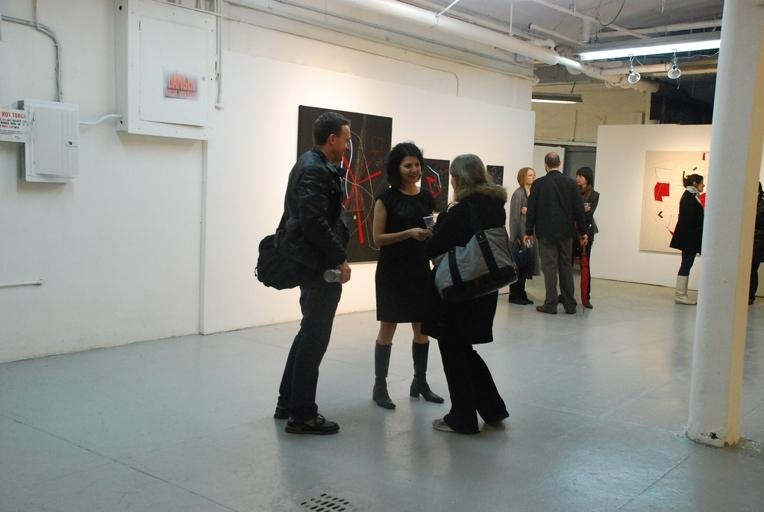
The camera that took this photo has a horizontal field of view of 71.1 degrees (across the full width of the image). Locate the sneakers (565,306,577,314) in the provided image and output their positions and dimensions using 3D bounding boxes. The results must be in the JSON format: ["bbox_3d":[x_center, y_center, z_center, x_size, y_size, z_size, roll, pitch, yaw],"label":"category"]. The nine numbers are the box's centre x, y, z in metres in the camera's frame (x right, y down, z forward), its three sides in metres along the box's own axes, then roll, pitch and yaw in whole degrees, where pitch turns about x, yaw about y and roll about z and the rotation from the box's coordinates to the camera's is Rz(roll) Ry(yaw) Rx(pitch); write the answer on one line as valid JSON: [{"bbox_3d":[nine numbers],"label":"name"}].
[{"bbox_3d":[2.829,0.826,7.980,0.104,0.098,0.138,0,-4,-1],"label":"sneakers"}]

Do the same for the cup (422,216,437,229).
[{"bbox_3d":[0.378,-0.269,4.244,0.099,0.119,0.100,1,7,0],"label":"cup"}]

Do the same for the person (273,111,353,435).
[{"bbox_3d":[-0.521,0.128,3.974,0.544,2.371,0.439,0,8,-12],"label":"person"}]

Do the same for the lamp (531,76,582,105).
[{"bbox_3d":[4.285,-4.061,13.006,1.230,0.548,1.259,3,7,13],"label":"lamp"}]

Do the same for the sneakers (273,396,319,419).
[{"bbox_3d":[-0.713,1.231,4.286,0.432,0.204,0.146,-1,8,-17],"label":"sneakers"}]

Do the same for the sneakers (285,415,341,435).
[{"bbox_3d":[-0.517,1.267,4.026,0.385,0.170,0.153,0,-2,-7],"label":"sneakers"}]

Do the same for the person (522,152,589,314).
[{"bbox_3d":[2.595,-0.211,8.002,0.868,2.118,0.516,4,8,18],"label":"person"}]

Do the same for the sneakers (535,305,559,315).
[{"bbox_3d":[2.471,0.807,7.973,0.121,0.130,0.304,-5,11,-34],"label":"sneakers"}]

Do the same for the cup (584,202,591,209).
[{"bbox_3d":[3.398,-0.811,8.820,0.145,0.143,0.150,-2,4,0],"label":"cup"}]

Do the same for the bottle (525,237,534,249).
[{"bbox_3d":[2.234,-0.191,8.130,0.129,0.180,0.066,-3,38,-2],"label":"bottle"}]

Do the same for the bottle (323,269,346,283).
[{"bbox_3d":[-0.340,0.136,3.814,0.101,0.098,0.109,21,17,34],"label":"bottle"}]

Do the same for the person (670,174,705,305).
[{"bbox_3d":[5.179,-0.290,9.065,0.454,2.163,0.770,6,9,29],"label":"person"}]

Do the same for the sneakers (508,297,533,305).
[{"bbox_3d":[2.214,0.721,8.533,0.256,0.106,0.142,-3,-2,33],"label":"sneakers"}]
